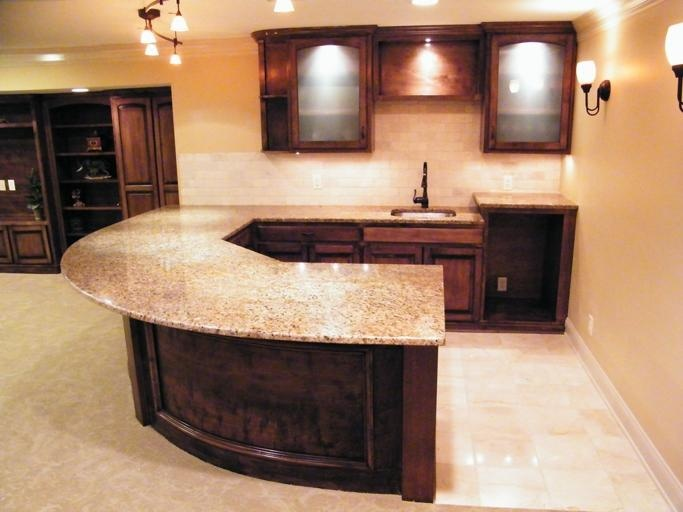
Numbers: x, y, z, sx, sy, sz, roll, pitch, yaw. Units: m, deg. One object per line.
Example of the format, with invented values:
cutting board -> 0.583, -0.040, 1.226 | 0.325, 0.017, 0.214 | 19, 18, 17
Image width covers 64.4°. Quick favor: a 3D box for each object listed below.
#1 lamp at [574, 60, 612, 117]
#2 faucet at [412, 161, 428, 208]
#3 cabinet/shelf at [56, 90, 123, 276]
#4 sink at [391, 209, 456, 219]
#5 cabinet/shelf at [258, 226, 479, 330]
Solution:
lamp -> 1.949, -1.308, 4.192 | 0.226, 0.434, 0.464 | 4, 13, 17
faucet -> 0.781, -0.698, 5.278 | 0.168, 0.451, 0.200 | 2, 14, 7
cabinet/shelf -> -3.225, -1.024, 6.877 | 0.736, 1.782, 0.510 | -2, 15, -7
sink -> 0.780, -0.404, 5.141 | 0.597, 0.080, 0.302 | 1, 11, 4
cabinet/shelf -> 0.294, 0.133, 3.771 | 1.191, 0.473, 0.334 | 0, 11, 3
